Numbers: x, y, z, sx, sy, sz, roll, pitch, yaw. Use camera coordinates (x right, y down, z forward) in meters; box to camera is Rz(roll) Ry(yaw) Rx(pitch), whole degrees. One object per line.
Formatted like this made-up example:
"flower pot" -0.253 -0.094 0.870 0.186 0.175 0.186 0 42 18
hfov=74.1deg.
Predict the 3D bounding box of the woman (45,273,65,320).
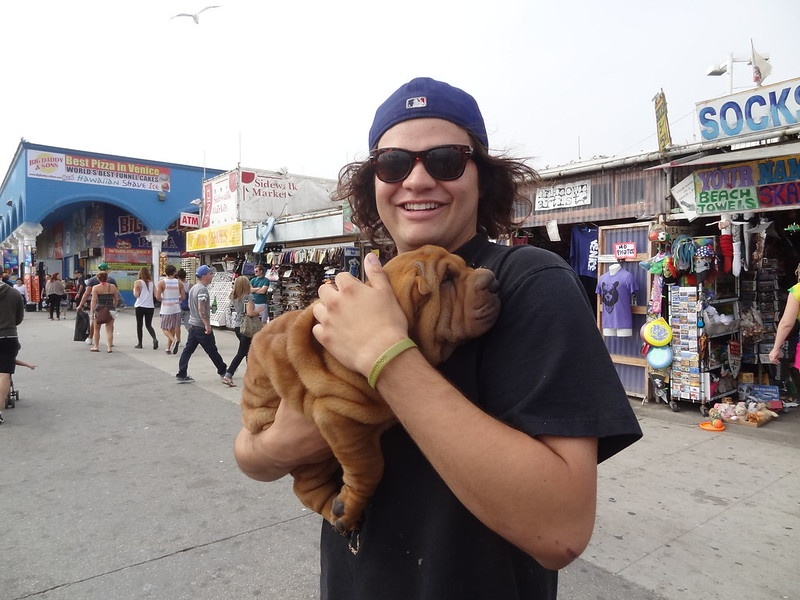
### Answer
"woman" -15.847 -0.176 24.564 1.067 2.241 1.068 0 -9 -34

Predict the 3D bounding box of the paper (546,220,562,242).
"paper" 2.701 -1.227 9.285 0.031 0.323 0.266 -13 -8 -33

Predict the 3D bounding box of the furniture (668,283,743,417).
"furniture" 4.569 0.528 7.999 1.221 2.491 0.749 5 -8 -36

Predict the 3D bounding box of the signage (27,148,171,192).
"signage" -16.482 -6.800 28.075 7.329 1.930 0.150 -7 8 -37

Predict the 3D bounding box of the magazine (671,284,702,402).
"magazine" 4.149 0.651 7.674 0.097 1.669 0.547 -5 8 -33

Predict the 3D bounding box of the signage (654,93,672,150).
"signage" 3.773 -2.594 7.613 0.234 0.867 0.780 3 7 25

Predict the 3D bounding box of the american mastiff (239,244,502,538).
"american mastiff" -0.174 0.301 2.427 1.127 1.192 0.956 5 24 17

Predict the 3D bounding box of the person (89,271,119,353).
"person" -7.736 0.290 13.914 0.716 2.151 1.468 -4 8 -30

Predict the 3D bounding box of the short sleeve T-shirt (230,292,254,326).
"short sleeve T-shirt" -3.089 0.172 10.489 0.361 0.733 0.675 11 -8 -23

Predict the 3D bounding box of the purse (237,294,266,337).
"purse" -2.716 0.272 9.634 0.402 0.903 0.749 1 -6 -7

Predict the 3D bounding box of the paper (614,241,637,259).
"paper" 3.518 -0.766 8.231 0.037 0.233 0.252 6 -7 -39
